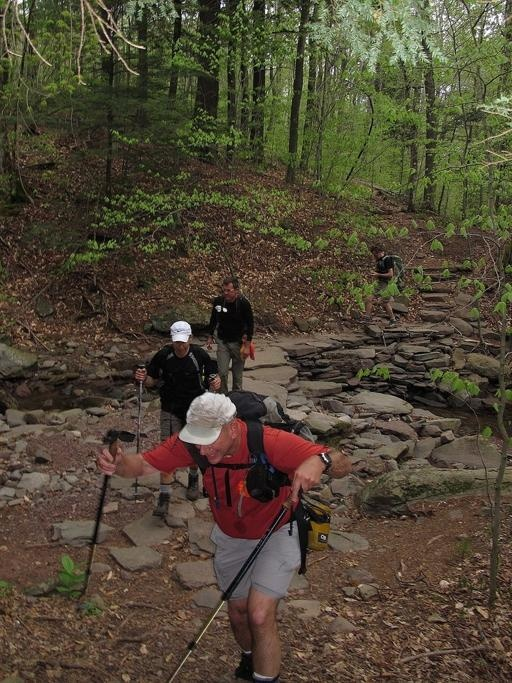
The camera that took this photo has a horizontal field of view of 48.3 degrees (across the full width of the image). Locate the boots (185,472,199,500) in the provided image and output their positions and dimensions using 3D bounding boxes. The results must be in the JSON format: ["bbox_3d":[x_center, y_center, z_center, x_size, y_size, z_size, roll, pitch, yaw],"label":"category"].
[{"bbox_3d":[-0.699,1.629,6.416,0.133,0.181,0.329,1,11,-3],"label":"boots"}]

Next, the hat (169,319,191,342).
[{"bbox_3d":[-0.731,-0.082,5.608,0.177,0.233,0.228,4,12,-4],"label":"hat"}]

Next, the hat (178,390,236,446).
[{"bbox_3d":[-0.256,0.419,3.210,0.232,0.170,0.333,20,42,21],"label":"hat"}]

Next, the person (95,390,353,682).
[{"bbox_3d":[-0.183,1.320,3.501,1.190,2.127,0.590,11,14,25],"label":"person"}]

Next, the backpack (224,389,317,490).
[{"bbox_3d":[0.149,0.570,3.502,0.463,0.318,0.636,13,-16,47],"label":"backpack"}]
